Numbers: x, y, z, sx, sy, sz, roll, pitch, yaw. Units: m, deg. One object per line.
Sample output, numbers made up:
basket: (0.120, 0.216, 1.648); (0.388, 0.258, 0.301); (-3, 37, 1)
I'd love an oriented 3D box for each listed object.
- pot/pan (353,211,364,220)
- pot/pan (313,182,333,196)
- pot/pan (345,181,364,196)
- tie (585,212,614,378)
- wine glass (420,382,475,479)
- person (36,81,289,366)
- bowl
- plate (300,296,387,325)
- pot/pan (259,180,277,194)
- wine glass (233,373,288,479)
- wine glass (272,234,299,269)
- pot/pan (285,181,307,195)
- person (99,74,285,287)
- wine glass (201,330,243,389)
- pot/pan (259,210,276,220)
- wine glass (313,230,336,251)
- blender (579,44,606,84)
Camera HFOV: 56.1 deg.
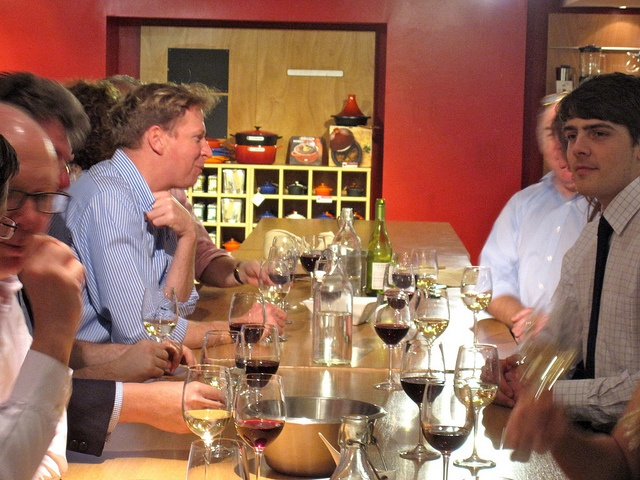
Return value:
pot/pan: (0.358, -0.241, 5.866); (0.137, 0.059, 0.079); (-1, 0, -8)
pot/pan: (0.033, -0.491, 5.899); (0.142, 0.104, 0.109); (0, 0, 0)
pot/pan: (0.349, -0.543, 5.897); (0.199, 0.147, 0.121); (0, -6, -3)
tie: (0.935, 0.187, 2.013); (0.055, 0.522, 0.180); (4, 8, 26)
wine glass: (0.274, 0.383, 1.281); (0.104, 0.206, 0.212); (3, 8, 15)
person: (-0.514, -0.148, 2.706); (0.933, 1.371, 0.952); (-3, 19, -8)
bowl: (-0.020, 0.421, 1.273); (0.198, 0.094, 0.212); (4, 6, 0)
plate: (0.091, 0.240, 2.038); (0.149, 0.070, 0.192); (0, 2, 10)
pot/pan: (-0.523, -0.529, 5.965); (0.147, 0.077, 0.124); (-1, 2, -4)
wine glass: (-0.128, 0.371, 1.200); (0.095, 0.194, 0.109); (6, 9, 34)
wine glass: (-0.139, 0.048, 2.510); (0.111, 0.171, 0.119); (0, -7, -4)
pot/pan: (-0.228, -0.502, 5.916); (0.188, 0.105, 0.118); (0, 0, -12)
person: (-0.465, -0.326, 2.722); (0.877, 1.024, 0.668); (-5, 17, -16)
wine glass: (-0.281, 0.337, 1.716); (0.124, 0.177, 0.135); (1, -4, -5)
pot/pan: (-0.514, -0.251, 5.924); (0.111, 0.110, 0.117); (0, 2, -29)
wine glass: (0.024, -0.006, 3.146); (0.100, 0.157, 0.077); (0, -20, -1)
blender: (2.434, -1.579, 5.441); (0.215, 0.332, 0.188); (1, 4, 7)
